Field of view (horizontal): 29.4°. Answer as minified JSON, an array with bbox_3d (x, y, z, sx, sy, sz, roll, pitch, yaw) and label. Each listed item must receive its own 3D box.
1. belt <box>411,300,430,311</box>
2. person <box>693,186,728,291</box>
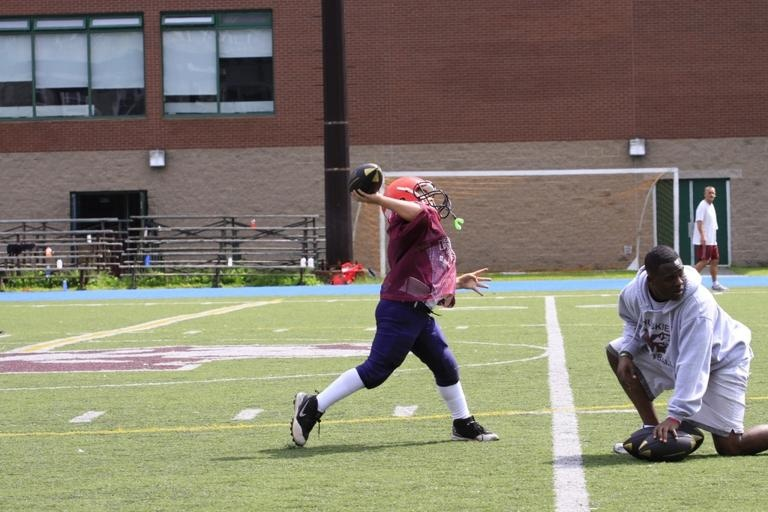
[{"bbox_3d":[0.598,0.809,23.756,0.181,0.066,0.208,22,-3,6],"label":"belt"},{"bbox_3d":[8.074,-0.427,35.963,1.137,2.301,1.094,0,4,-8],"label":"person"}]
